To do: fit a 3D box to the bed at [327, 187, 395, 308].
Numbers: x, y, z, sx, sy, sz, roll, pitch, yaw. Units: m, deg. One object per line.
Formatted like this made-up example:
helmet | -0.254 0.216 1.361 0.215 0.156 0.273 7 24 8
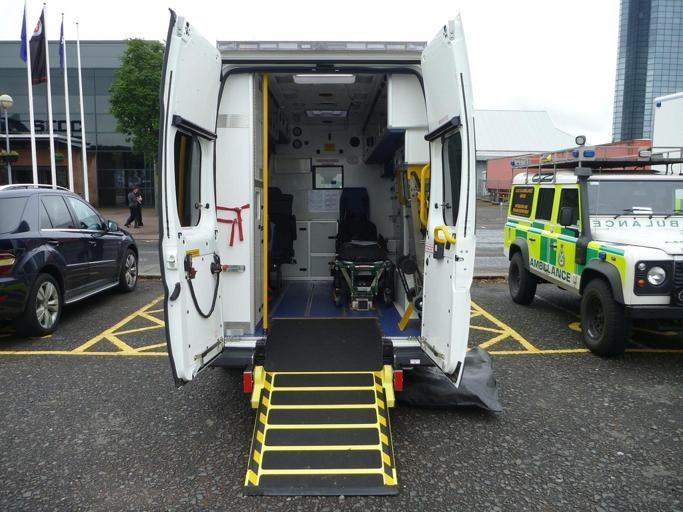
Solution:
bed | 0.284 -0.153 8.113 0.887 1.772 0.989 -1 7 -8
